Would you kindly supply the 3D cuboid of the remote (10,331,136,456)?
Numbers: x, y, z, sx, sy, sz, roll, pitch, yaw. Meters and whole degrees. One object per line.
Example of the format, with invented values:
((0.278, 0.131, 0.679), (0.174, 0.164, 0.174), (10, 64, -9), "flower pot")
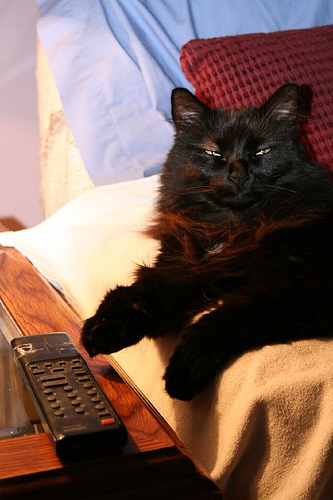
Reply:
((-0.116, 0.142, 0.544), (0.073, 0.201, 0.021), (-13, 40, 0), "remote")

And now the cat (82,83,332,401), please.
((0.134, -0.042, 0.918), (0.463, 0.203, 0.644), (-5, 25, 22), "cat")
